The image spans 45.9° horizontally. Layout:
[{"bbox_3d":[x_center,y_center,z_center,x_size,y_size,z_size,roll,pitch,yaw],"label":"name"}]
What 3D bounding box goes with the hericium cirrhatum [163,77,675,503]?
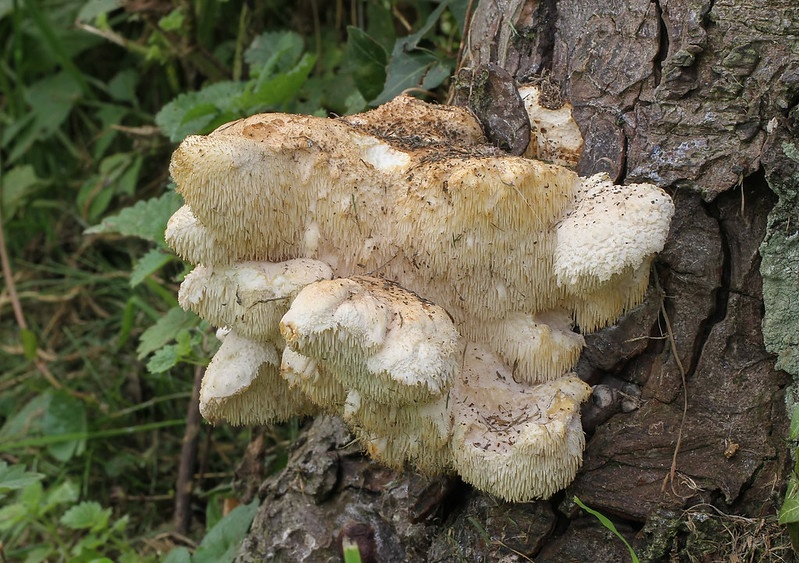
[{"bbox_3d":[0.053,-0.049,4.713,2.244,1.066,1.859,13,68,8],"label":"hericium cirrhatum"}]
